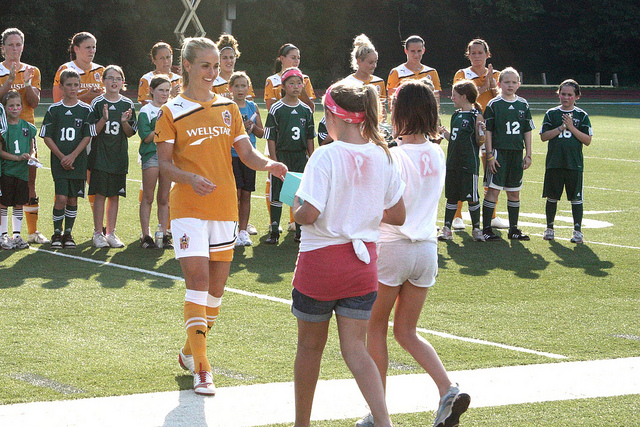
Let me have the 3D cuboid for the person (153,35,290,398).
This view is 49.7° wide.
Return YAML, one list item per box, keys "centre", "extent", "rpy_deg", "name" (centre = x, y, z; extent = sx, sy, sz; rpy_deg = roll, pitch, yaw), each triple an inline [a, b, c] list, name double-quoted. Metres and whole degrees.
- centre: [-1.073, -0.014, 6.537]
  extent: [0.962, 3.310, 0.536]
  rpy_deg: [0, 2, -13]
  name: "person"

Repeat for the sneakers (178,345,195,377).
- centre: [-1.283, 1.417, 6.646]
  extent: [0.119, 0.141, 0.324]
  rpy_deg: [4, 10, -36]
  name: "sneakers"

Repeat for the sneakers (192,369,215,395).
- centre: [-1.077, 1.541, 6.401]
  extent: [0.222, 0.222, 0.171]
  rpy_deg: [1, 2, 0]
  name: "sneakers"

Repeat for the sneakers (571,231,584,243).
- centre: [4.081, 0.374, 10.972]
  extent: [0.110, 0.121, 0.274]
  rpy_deg: [-4, -10, 31]
  name: "sneakers"

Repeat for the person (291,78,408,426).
- centre: [0.216, 0.332, 5.707]
  extent: [0.885, 2.891, 0.387]
  rpy_deg: [1, 2, 5]
  name: "person"
